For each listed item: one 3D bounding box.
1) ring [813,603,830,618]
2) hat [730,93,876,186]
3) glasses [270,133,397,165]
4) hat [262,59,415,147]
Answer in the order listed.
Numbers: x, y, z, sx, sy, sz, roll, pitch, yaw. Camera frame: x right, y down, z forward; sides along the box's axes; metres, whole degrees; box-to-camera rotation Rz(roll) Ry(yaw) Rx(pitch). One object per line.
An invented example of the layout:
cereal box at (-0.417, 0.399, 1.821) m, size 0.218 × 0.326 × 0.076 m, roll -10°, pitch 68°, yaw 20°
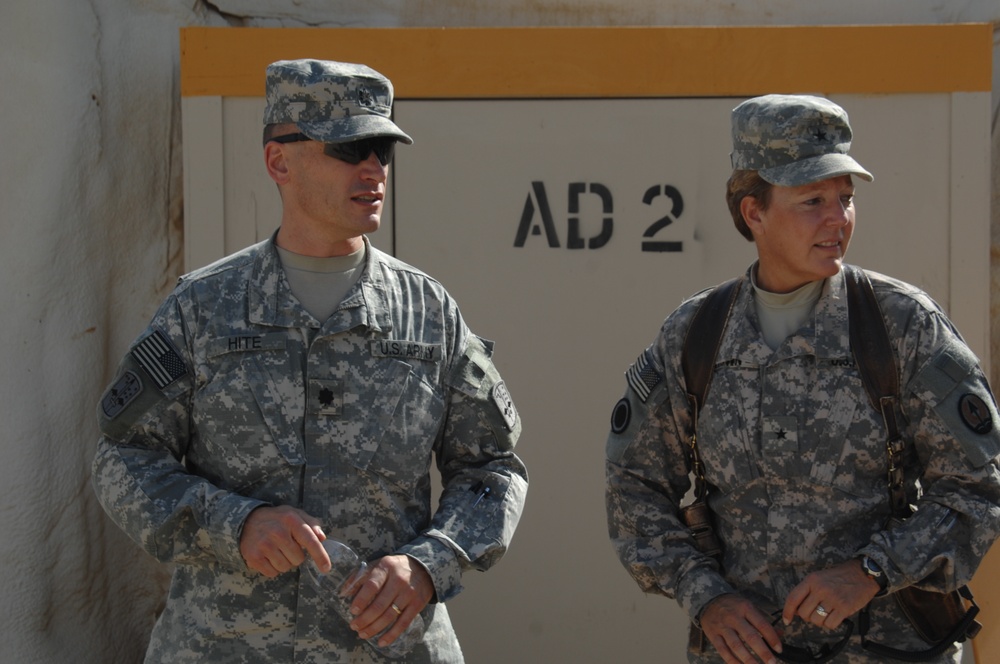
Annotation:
ring at (1.282, 1.108, 6.957) m, size 0.035 × 0.027 × 0.049 m, roll 26°, pitch -10°, yaw 14°
hat at (1.252, -0.789, 7.240) m, size 0.481 × 0.270 × 0.361 m, roll 4°, pitch 6°, yaw 42°
glasses at (-0.635, -0.749, 7.190) m, size 0.284 × 0.083 × 0.220 m, roll 2°, pitch -3°, yaw 20°
hat at (-0.681, -0.938, 7.186) m, size 0.471 × 0.244 × 0.356 m, roll -1°, pitch -2°, yaw 35°
